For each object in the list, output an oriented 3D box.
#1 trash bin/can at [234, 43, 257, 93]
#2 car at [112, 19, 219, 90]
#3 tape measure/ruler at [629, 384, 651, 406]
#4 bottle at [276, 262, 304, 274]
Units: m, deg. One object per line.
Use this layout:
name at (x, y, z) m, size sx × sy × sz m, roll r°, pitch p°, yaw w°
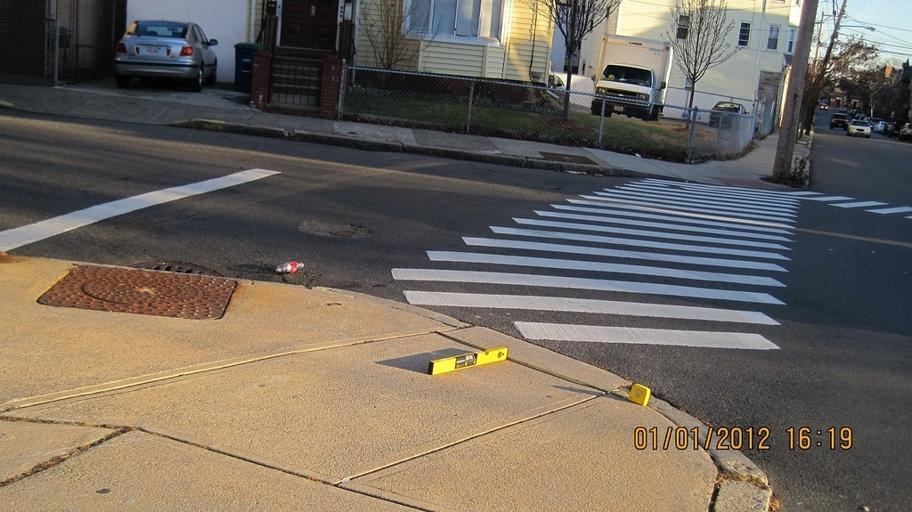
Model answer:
trash bin/can at (-7.702, -6.953, 25.473) m, size 0.634 × 1.745 × 1.130 m, roll -1°, pitch 20°, yaw -28°
car at (-9.599, -6.800, 23.404) m, size 2.250 × 2.264 × 3.107 m, roll 10°, pitch 17°, yaw 6°
tape measure/ruler at (2.095, 1.602, 7.844) m, size 0.211 × 0.175 × 0.066 m, roll 14°, pitch -5°, yaw 27°
bottle at (-2.369, 0.162, 10.076) m, size 0.220 × 0.134 × 0.497 m, roll 18°, pitch 20°, yaw 30°
